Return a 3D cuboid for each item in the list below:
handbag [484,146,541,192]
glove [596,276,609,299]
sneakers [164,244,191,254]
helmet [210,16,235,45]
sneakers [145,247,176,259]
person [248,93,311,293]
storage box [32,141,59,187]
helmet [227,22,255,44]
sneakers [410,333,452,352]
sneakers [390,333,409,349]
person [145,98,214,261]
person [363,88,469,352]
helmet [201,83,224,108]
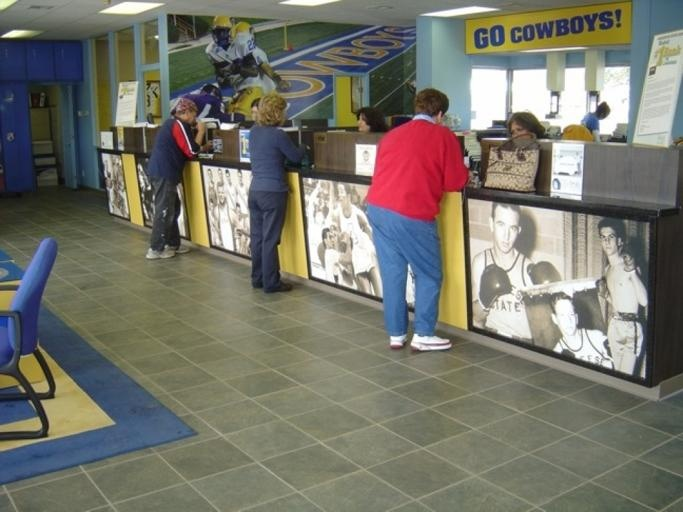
[{"bbox_3d":[1.277,-0.633,3.733,0.138,0.321,0.349,5,5,-43],"label":"handbag"},{"bbox_3d":[1.670,0.197,3.230,0.015,0.133,0.086,-8,15,-27],"label":"glove"},{"bbox_3d":[-2.350,-0.101,7.232,0.324,0.130,0.116,-11,21,-35],"label":"sneakers"},{"bbox_3d":[-2.563,-4.761,10.800,0.457,0.532,0.553,2,13,9],"label":"helmet"},{"bbox_3d":[-2.504,-0.028,7.001,0.392,0.169,0.161,-8,20,-21],"label":"sneakers"},{"bbox_3d":[-0.723,-0.665,5.473,0.630,2.070,0.492,-3,14,-7],"label":"person"},{"bbox_3d":[-8.433,-2.595,14.360,0.604,1.222,0.323,-11,17,-38],"label":"storage box"},{"bbox_3d":[-2.225,-4.823,11.012,0.335,0.418,0.445,23,18,31],"label":"helmet"},{"bbox_3d":[0.707,0.668,4.059,0.325,0.129,0.126,-2,8,-16],"label":"sneakers"},{"bbox_3d":[0.452,0.681,4.105,0.068,0.077,0.188,3,20,17],"label":"sneakers"},{"bbox_3d":[-2.368,-1.076,7.085,0.927,2.120,0.690,-6,14,-19],"label":"person"},{"bbox_3d":[0.575,-0.146,3.958,0.768,1.782,0.314,0,13,2],"label":"person"},{"bbox_3d":[-2.833,-3.466,10.987,0.339,0.386,0.399,14,-7,-17],"label":"helmet"}]
